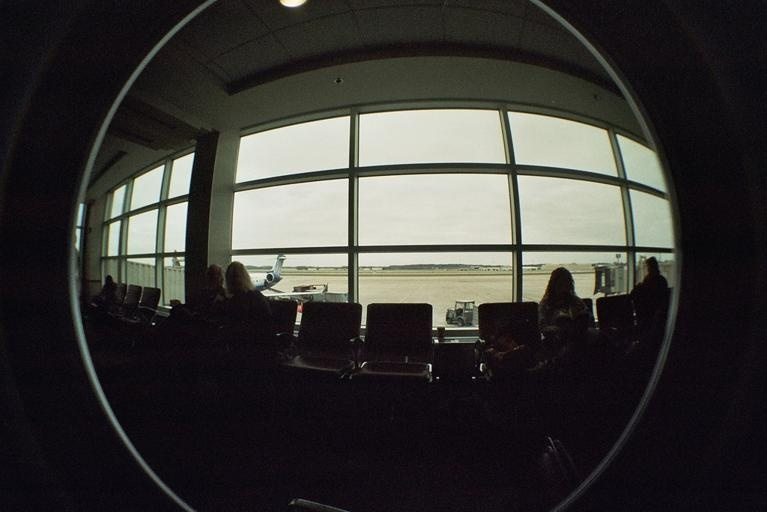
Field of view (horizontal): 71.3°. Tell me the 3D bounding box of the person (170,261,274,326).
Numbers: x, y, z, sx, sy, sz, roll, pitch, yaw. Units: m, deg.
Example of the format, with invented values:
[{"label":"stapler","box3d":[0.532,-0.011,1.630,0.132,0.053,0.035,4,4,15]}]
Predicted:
[{"label":"person","box3d":[-1.453,0.346,4.915,0.918,0.545,0.530,-1,-9,23]}]
